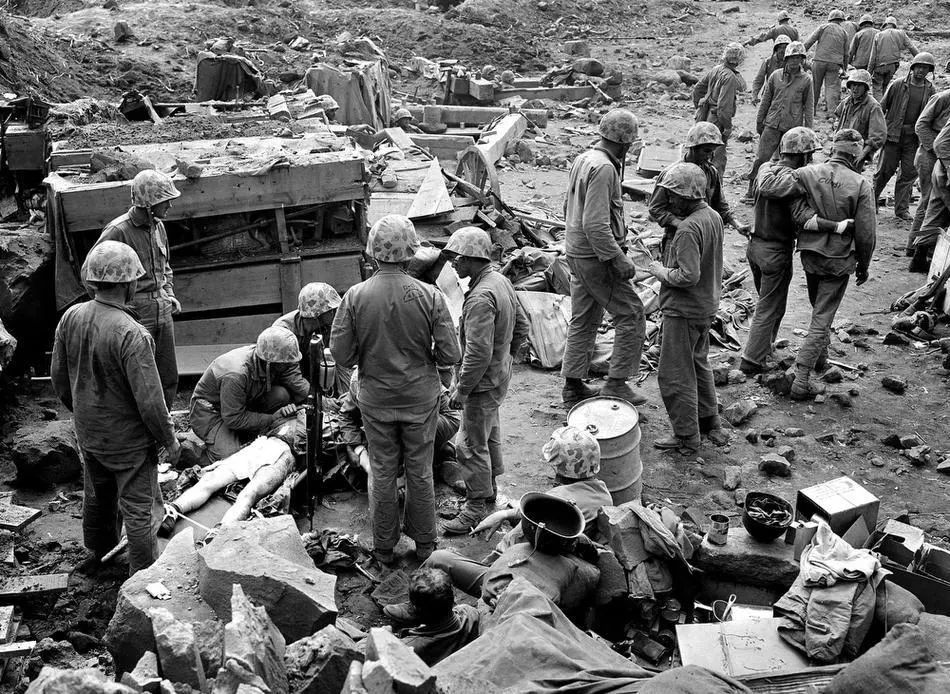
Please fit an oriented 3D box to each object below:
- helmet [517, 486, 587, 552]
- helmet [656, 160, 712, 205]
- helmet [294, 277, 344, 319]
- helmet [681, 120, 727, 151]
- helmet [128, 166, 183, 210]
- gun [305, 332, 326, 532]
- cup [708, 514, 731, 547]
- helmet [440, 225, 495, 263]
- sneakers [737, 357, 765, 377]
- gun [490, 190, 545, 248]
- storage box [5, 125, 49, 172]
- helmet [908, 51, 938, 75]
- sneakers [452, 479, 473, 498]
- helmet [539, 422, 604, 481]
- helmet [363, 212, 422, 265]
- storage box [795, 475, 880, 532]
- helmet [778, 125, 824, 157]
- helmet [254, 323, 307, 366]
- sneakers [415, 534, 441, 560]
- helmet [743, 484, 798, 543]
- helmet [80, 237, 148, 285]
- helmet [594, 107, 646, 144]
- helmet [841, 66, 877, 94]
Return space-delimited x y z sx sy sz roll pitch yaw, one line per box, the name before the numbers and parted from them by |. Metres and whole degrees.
helmet | 0.574 1.320 7.214 0.440 0.251 0.436 -15 35 -35
helmet | 2.054 -1.633 9.340 0.424 0.282 0.328 19 20 -6
helmet | -1.627 -0.526 9.786 0.379 0.239 0.467 -16 10 -13
helmet | 2.372 -2.176 9.892 0.346 0.290 0.475 2 18 9
helmet | -3.323 -1.658 9.934 0.489 0.318 0.367 -4 23 -19
gun | -1.513 0.885 9.093 0.258 2.678 0.257 2 37 -9
cup | 2.030 1.529 8.038 0.180 0.239 0.228 -4 15 -17
helmet | -0.057 -0.963 8.778 0.393 0.218 0.297 13 18 13
sneakers | 3.146 0.239 10.870 0.203 0.190 0.215 42 -13 -23
gun | 0.668 -1.864 13.739 0.920 0.735 0.419 8 20 25
storage box | -6.087 -2.700 13.248 0.611 0.625 0.627 0 20 -8
helmet | 6.629 -4.240 14.060 0.321 0.241 0.454 17 -6 19
sneakers | -0.098 1.360 9.329 0.207 0.077 0.186 29 8 28
helmet | 0.816 0.864 7.951 0.341 0.367 0.477 -5 19 -3
helmet | -0.707 -0.935 8.299 0.371 0.358 0.421 -2 22 -4
storage box | 3.066 1.290 8.136 0.477 0.319 0.473 -13 30 -25
helmet | 3.485 -2.195 10.173 0.335 0.282 0.313 -8 19 -20
helmet | -1.957 -0.030 9.439 0.400 0.250 0.321 14 19 42
sneakers | -0.425 1.776 8.462 0.207 0.312 0.171 -3 15 11
helmet | 2.491 1.444 8.107 0.397 0.293 0.423 5 19 19
helmet | -3.095 -0.741 8.130 0.431 0.254 0.365 -3 16 -16
helmet | 1.499 -2.245 9.912 0.402 0.379 0.375 24 44 26
helmet | 5.739 -4.026 14.218 0.445 0.292 0.665 1 -8 19
